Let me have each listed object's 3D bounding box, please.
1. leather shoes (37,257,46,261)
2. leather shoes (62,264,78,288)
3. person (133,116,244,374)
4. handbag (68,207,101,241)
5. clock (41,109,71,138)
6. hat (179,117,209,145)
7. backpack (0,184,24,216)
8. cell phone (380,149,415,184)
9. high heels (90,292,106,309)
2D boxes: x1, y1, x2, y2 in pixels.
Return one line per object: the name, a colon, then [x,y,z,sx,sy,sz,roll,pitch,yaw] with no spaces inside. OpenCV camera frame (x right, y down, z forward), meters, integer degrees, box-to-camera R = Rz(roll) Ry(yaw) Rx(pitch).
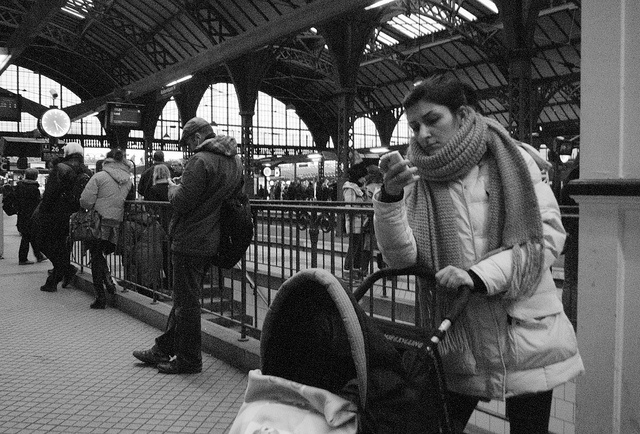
leather shoes: [-5.853,0.863,12.719,0.098,0.047,0.105,2,4,12]
leather shoes: [-4.031,0.943,9.759,0.109,0.374,0.149,23,-6,-40]
person: [-1.261,0.286,6.135,1.106,2.529,0.480,-5,7,-13]
handbag: [-3.285,0.093,8.479,0.371,0.459,0.213,-5,-14,26]
clock: [-9.093,-3.208,20.671,0.849,0.972,1.271,-6,10,-17]
hat: [-1.279,-0.882,6.172,0.262,0.190,0.212,-8,8,15]
backpack: [-6.231,-0.370,12.259,0.342,0.791,0.479,1,-11,-19]
cell phone: [0.448,-0.323,3.509,0.155,0.195,0.045,8,30,30]
high heels: [-3.085,1.158,8.410,0.209,0.191,0.180,-8,10,-28]
